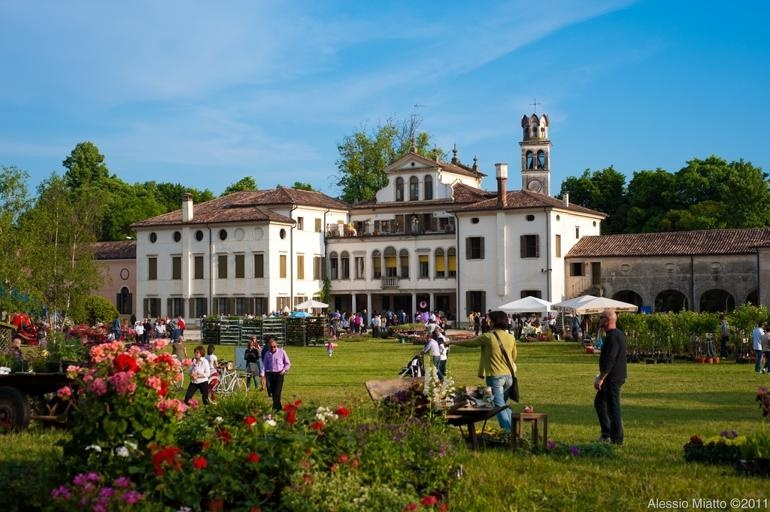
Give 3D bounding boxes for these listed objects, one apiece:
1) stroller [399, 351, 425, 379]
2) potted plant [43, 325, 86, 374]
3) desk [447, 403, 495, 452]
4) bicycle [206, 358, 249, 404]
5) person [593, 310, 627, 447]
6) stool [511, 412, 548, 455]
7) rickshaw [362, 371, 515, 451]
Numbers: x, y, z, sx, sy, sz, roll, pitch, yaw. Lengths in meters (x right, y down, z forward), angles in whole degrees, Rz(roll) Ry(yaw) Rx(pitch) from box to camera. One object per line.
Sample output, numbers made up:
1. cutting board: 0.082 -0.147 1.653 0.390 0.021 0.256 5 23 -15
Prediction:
1. stroller: 0.977 3.547 36.936 0.638 0.987 1.009 0 -5 -3
2. potted plant: -8.838 2.605 31.455 0.471 0.983 1.026 4 -1 -2
3. desk: 2.134 4.238 28.597 1.169 1.005 1.253 -1 -5 1
4. bicycle: -5.199 4.005 37.078 0.772 0.943 1.592 2 9 37
5. person: 5.737 3.089 28.969 0.901 3.096 1.032 0 3 3
6. stool: 3.744 4.391 28.679 0.840 1.348 1.006 2 -7 -16
7. rickshaw: 1.123 3.659 28.711 2.382 1.179 2.168 1 -3 16
